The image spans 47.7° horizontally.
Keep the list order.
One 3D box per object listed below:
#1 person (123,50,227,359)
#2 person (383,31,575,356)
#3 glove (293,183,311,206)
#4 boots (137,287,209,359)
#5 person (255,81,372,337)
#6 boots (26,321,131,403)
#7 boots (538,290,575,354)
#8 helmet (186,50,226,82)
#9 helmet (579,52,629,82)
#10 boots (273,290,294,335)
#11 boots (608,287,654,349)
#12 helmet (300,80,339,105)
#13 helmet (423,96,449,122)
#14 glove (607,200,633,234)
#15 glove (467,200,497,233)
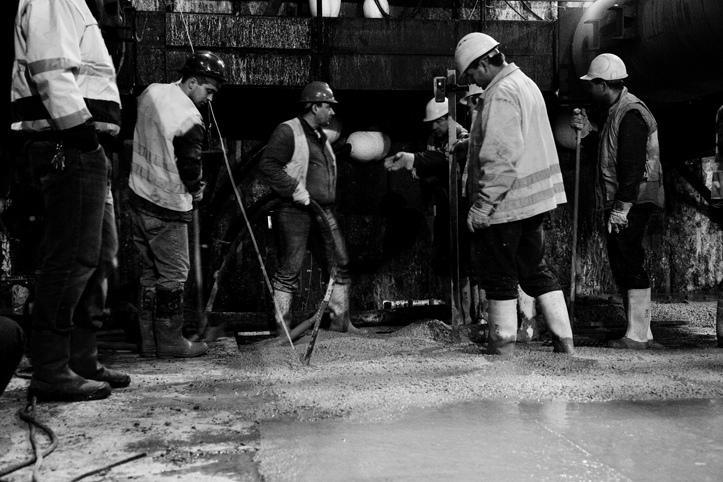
[{"bbox_3d":[-1.778,-0.189,7.409,0.687,2.447,0.410,-2,6,-12],"label":"person"},{"bbox_3d":[1.333,-0.425,7.200,0.942,2.805,0.510,0,6,-2],"label":"person"},{"bbox_3d":[-0.608,-0.468,8.158,0.153,0.210,0.089,-28,-2,12],"label":"glove"},{"bbox_3d":[-1.727,0.760,7.496,0.692,0.779,0.414,0,4,-21],"label":"boots"},{"bbox_3d":[-0.537,-0.341,8.413,0.796,2.658,1.472,2,7,20],"label":"person"},{"bbox_3d":[-2.126,0.936,6.024,0.462,0.471,0.680,1,0,-6],"label":"boots"},{"bbox_3d":[1.729,0.643,7.302,0.210,0.830,0.211,-22,32,5],"label":"boots"},{"bbox_3d":[-1.432,-1.645,7.525,0.424,0.255,0.384,13,14,16],"label":"helmet"},{"bbox_3d":[2.348,-1.691,7.855,0.322,0.190,0.272,5,19,23],"label":"helmet"},{"bbox_3d":[-0.802,0.673,8.238,0.191,0.703,0.193,4,38,-6],"label":"boots"},{"bbox_3d":[2.505,0.709,7.629,0.350,0.538,0.234,1,6,14],"label":"boots"},{"bbox_3d":[-0.471,-1.536,8.386,0.271,0.162,0.234,-2,12,-2],"label":"helmet"},{"bbox_3d":[0.817,-1.454,9.017,0.202,0.150,0.258,-1,21,42],"label":"helmet"},{"bbox_3d":[2.409,-0.226,7.655,0.101,0.290,0.218,8,10,7],"label":"glove"},{"bbox_3d":[1.020,-0.193,7.103,0.214,0.247,0.131,2,6,16],"label":"glove"}]
